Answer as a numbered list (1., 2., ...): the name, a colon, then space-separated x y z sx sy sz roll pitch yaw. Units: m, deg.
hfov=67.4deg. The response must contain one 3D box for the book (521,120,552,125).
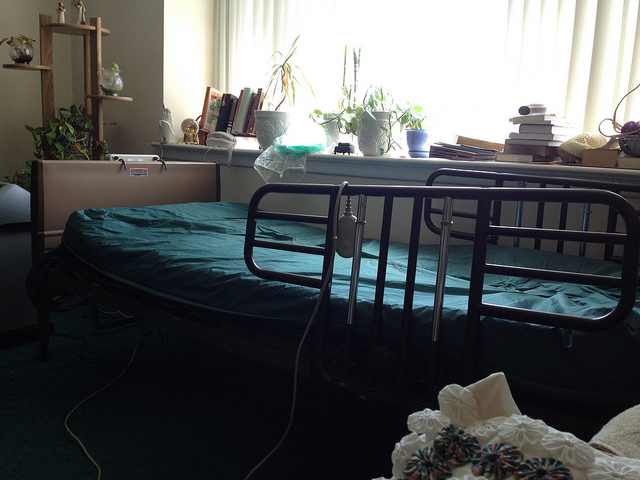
1. book: 1.026 -0.549 2.234 0.105 0.023 0.027 10 15 23

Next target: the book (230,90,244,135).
1. book: -0.555 -0.880 3.302 0.056 0.238 0.234 13 -2 -5

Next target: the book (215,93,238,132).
1. book: -0.670 -0.886 3.361 0.051 0.218 0.216 12 0 -6

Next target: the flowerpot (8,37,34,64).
1. flowerpot: -2.152 -1.359 3.464 0.139 0.189 0.257 -4 16 -30

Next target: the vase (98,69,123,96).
1. vase: -1.458 -1.095 3.335 0.148 0.173 0.074 -3 16 -28

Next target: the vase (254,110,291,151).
1. vase: -0.303 -0.681 3.000 0.216 0.239 0.211 12 16 28

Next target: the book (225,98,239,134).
1. book: -0.605 -0.863 3.329 0.046 0.191 0.192 13 8 -6

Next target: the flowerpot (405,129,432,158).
1. flowerpot: 0.543 -0.539 2.693 0.157 0.167 0.159 2 11 18

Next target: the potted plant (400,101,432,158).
1. potted plant: 0.548 -0.628 2.722 0.194 0.303 0.302 7 14 11

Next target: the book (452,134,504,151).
1. book: 0.827 -0.508 2.509 0.251 0.060 0.134 10 15 20

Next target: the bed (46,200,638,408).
1. bed: -0.060 0.153 1.737 1.761 0.253 0.976 9 11 26

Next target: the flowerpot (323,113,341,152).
1. flowerpot: 0.066 -0.641 2.874 0.113 0.230 0.108 7 14 11

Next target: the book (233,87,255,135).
1. book: -0.508 -0.880 3.299 0.060 0.255 0.246 15 3 -13

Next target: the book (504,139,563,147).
1. book: 1.016 -0.461 2.276 0.245 0.032 0.068 7 14 12

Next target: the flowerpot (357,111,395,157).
1. flowerpot: 0.300 -0.590 2.727 0.240 0.246 0.238 0 6 -33

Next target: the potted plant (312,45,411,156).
1. potted plant: 0.237 -0.826 2.910 0.730 0.661 0.568 -2 5 -12

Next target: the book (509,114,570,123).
1. book: 1.036 -0.571 2.266 0.255 0.042 0.126 10 15 21

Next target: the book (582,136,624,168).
1. book: 1.234 -0.381 2.092 0.136 0.084 0.137 2 9 19

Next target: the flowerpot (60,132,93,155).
1. flowerpot: -1.799 -0.718 3.565 0.082 0.163 0.230 15 17 37

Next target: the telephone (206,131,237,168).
1. telephone: -0.690 -0.584 3.297 0.237 0.220 0.193 3 -14 27

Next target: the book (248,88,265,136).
1. book: -0.428 -0.870 3.253 0.058 0.248 0.246 8 4 -14

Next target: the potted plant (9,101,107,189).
1. potted plant: -1.952 -0.694 3.565 0.338 0.451 0.441 -15 -9 4

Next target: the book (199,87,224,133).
1. book: -0.761 -0.905 3.379 0.064 0.262 0.270 10 53 1
